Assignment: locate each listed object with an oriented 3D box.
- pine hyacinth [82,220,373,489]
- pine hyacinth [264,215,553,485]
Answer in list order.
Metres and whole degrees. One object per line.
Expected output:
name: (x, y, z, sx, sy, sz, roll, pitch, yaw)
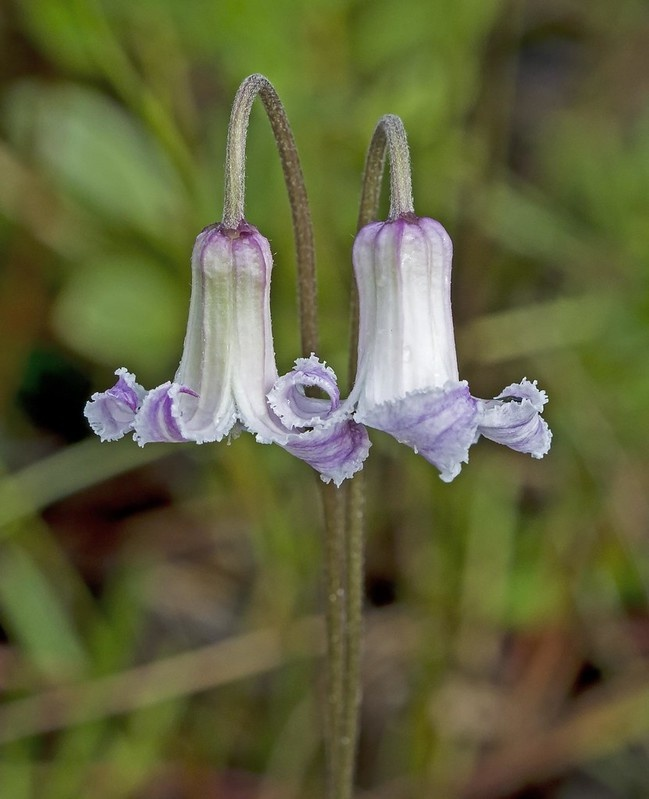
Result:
pine hyacinth: (-0.103, -0.057, 0.943, 0.347, 0.243, 0.329, 6, 12, 8)
pine hyacinth: (0.080, -0.061, 0.921, 0.336, 0.255, 0.271, -9, 18, -31)
